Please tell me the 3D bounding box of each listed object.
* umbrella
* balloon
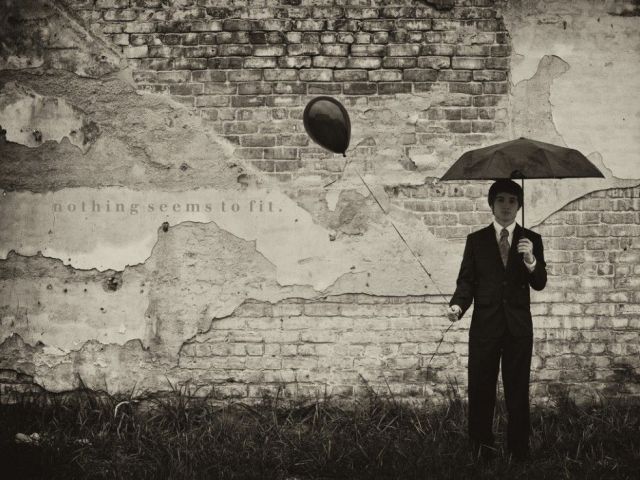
[{"bbox_3d":[1.715,-0.505,9.775,1.271,0.698,1.291,-5,4,-25],"label":"umbrella"},{"bbox_3d":[0.073,-0.993,10.104,0.374,0.486,0.128,-33,10,26],"label":"balloon"}]
